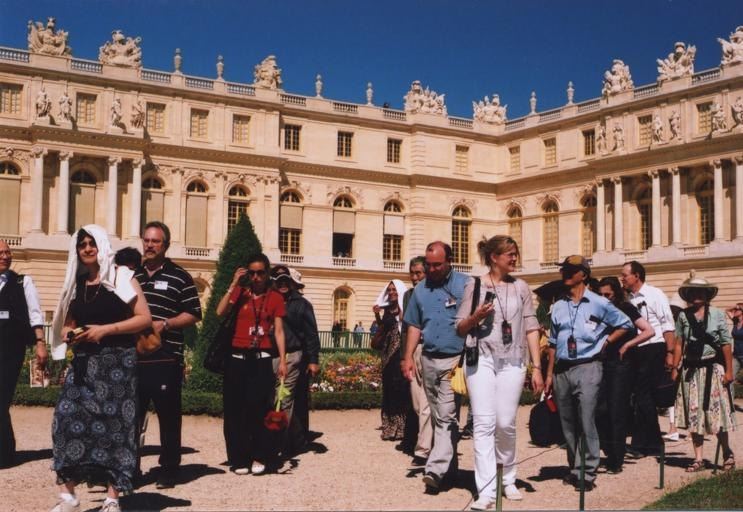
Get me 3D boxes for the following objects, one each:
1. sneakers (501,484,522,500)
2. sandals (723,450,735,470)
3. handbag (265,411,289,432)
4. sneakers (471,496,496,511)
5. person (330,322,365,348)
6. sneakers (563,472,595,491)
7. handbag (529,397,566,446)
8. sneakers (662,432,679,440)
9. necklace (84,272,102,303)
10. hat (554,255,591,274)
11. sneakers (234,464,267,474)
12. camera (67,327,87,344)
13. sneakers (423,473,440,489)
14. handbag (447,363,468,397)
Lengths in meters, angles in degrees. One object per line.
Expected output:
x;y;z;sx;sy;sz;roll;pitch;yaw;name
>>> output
2.336;3.911;19.176;0.186;0.130;0.337;2;-9;-19;sneakers
6.415;3.631;20.782;0.157;0.419;0.110;-4;-13;19;sandals
-1.682;2.875;20.311;0.354;0.333;0.276;-1;-5;3;handbag
1.844;4.029;18.860;0.473;0.178;0.170;8;-13;-20;sneakers
-0.970;2.998;43.058;0.913;0.541;0.920;-3;-4;39;person
3.436;3.773;19.721;0.702;0.249;0.290;21;-12;-38;sneakers
3.225;3.111;21.378;0.680;0.914;0.942;0;-1;13;handbag
5.990;3.585;23.053;0.374;0.142;0.134;3;1;21;sneakers
-4.488;0.548;18.436;0.215;0.396;0.089;1;-1;20;necklace
3.556;0.181;20.145;0.462;0.230;0.312;15;-5;-2;hat
-2.115;3.715;20.190;0.282;0.131;0.276;-3;-13;7;sneakers
-4.616;1.235;18.185;0.270;0.198;0.279;-30;-40;34;camera
1.014;3.774;19.561;0.292;0.264;0.318;-1;-5;3;sneakers
1.456;2.063;19.367;0.274;0.489;0.432;-1;-5;3;handbag
